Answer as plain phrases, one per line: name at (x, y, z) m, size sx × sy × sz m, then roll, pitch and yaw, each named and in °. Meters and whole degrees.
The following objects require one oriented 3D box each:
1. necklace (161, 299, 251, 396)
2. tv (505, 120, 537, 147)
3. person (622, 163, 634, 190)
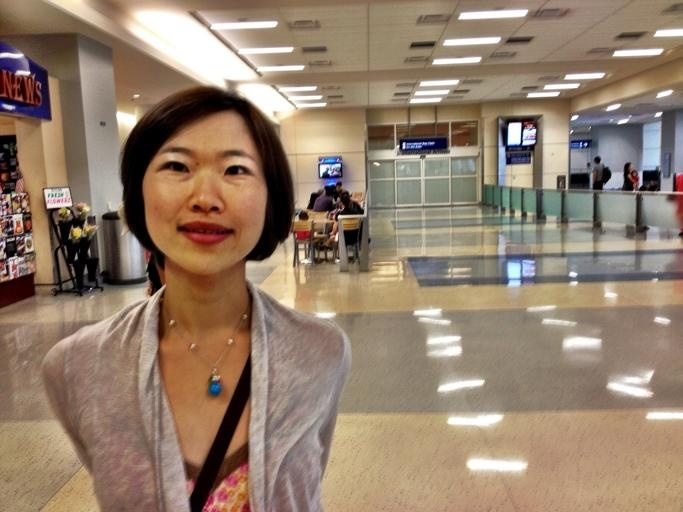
necklace at (-0.271, 0.185, 0.931) m, size 0.172 × 0.220 × 0.037 m, roll 0°, pitch -3°, yaw 0°
tv at (9.181, -6.277, 24.376) m, size 1.233 × 1.210 × 0.420 m, roll 0°, pitch 17°, yaw 2°
person at (9.235, -2.508, 15.241) m, size 0.274 × 0.835 × 1.259 m, roll 4°, pitch 9°, yaw 31°
